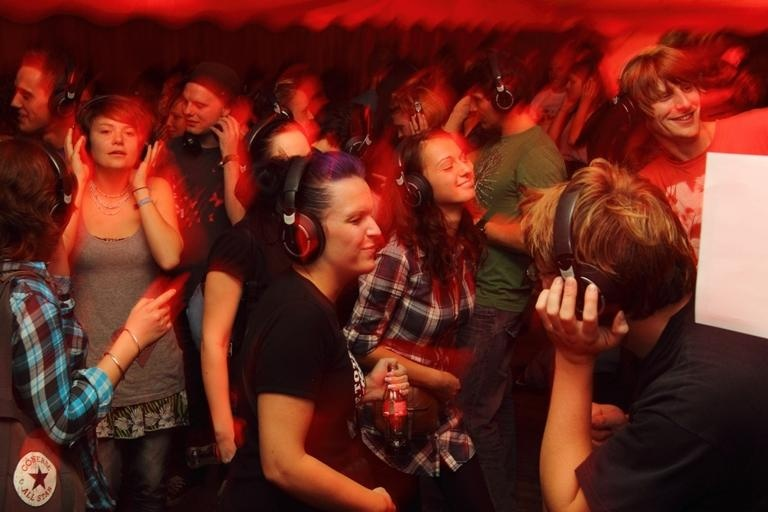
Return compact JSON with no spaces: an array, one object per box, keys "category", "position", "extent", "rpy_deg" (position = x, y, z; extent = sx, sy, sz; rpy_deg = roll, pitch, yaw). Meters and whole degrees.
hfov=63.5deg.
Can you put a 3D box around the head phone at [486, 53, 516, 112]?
[{"category":"head phone","position":[0.594,-0.871,3.136],"extent":[0.145,0.277,0.102],"rpy_deg":[6,10,12]}]

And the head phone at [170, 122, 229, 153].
[{"category":"head phone","position":[-0.966,-0.614,3.201],"extent":[0.257,0.119,0.194],"rpy_deg":[8,17,33]}]

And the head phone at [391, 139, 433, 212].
[{"category":"head phone","position":[0.126,-0.341,2.667],"extent":[0.128,0.329,0.304],"rpy_deg":[-16,-2,14]}]

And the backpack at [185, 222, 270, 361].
[{"category":"backpack","position":[-0.597,0.138,2.491],"extent":[0.200,0.596,0.545],"rpy_deg":[-3,12,-37]}]

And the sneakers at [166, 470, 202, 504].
[{"category":"sneakers","position":[-1.051,1.172,3.177],"extent":[0.078,0.084,0.227],"rpy_deg":[1,16,24]}]

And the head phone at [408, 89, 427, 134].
[{"category":"head phone","position":[0.182,-0.759,3.369],"extent":[0.092,0.248,0.189],"rpy_deg":[-11,6,0]}]

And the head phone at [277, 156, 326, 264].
[{"category":"head phone","position":[-0.263,-0.149,2.013],"extent":[0.138,0.334,0.083],"rpy_deg":[3,9,-8]}]

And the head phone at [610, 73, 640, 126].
[{"category":"head phone","position":[1.259,-0.813,3.197],"extent":[0.128,0.235,0.504],"rpy_deg":[7,10,20]}]

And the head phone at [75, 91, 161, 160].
[{"category":"head phone","position":[-1.190,-0.576,2.757],"extent":[0.302,0.275,0.166],"rpy_deg":[0,10,-23]}]

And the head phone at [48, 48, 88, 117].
[{"category":"head phone","position":[-1.577,-0.834,3.120],"extent":[0.113,0.275,0.296],"rpy_deg":[17,1,-31]}]

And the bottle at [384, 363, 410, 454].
[{"category":"bottle","position":[0.057,0.594,2.411],"extent":[0.142,0.327,0.100],"rpy_deg":[0,10,-24]}]

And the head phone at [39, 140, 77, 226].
[{"category":"head phone","position":[-1.146,-0.256,2.180],"extent":[0.110,0.274,0.175],"rpy_deg":[-1,10,-26]}]
